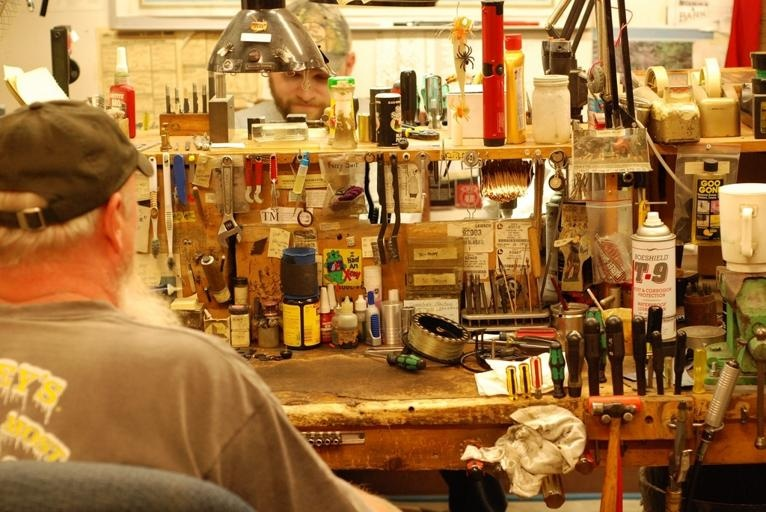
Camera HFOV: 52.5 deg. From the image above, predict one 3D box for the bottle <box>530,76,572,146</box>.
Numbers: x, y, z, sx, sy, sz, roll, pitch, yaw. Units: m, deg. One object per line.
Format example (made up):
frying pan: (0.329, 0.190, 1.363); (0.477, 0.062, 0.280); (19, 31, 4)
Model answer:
bottle: (0.666, -0.583, 3.103); (0.150, 0.272, 0.150); (0, -8, 0)

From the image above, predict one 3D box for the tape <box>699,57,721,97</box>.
tape: (1.364, -0.740, 3.231); (0.075, 0.179, 0.200); (1, 4, 23)

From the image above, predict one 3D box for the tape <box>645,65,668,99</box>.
tape: (1.156, -0.730, 3.273); (0.062, 0.139, 0.239); (0, 4, 9)
